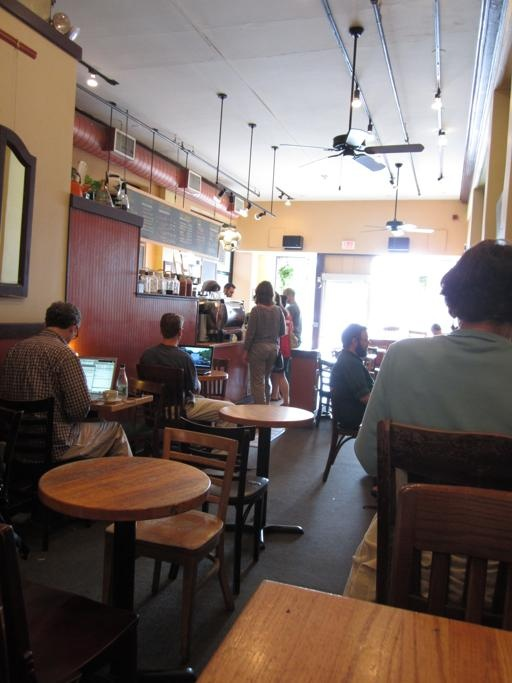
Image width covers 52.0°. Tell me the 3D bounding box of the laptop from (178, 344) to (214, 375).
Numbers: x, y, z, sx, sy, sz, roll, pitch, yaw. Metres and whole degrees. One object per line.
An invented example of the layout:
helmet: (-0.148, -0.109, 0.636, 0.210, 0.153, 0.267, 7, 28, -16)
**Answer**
laptop: (-0.550, 0.179, 4.965, 0.299, 0.241, 0.205, 5, -1, 18)

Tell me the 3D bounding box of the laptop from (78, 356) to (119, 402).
laptop: (-1.067, 0.256, 3.562, 0.285, 0.219, 0.253, 1, -3, 3)

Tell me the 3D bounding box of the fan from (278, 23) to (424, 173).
fan: (0.946, -2.302, 4.833, 1.137, 1.143, 1.155, 9, 14, 33)

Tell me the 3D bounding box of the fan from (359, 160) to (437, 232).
fan: (2.547, -2.463, 9.130, 1.132, 1.096, 1.193, -5, 11, -26)

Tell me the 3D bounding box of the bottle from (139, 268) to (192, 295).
bottle: (-0.888, -0.549, 5.069, 0.311, 0.119, 0.319, 6, 3, 0)

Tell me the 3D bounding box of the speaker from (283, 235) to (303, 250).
speaker: (0.750, -2.037, 10.870, 0.484, 0.275, 0.330, 3, -6, 9)

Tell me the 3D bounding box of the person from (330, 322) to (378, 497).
person: (0.882, 0.345, 4.269, 0.502, 0.943, 0.450, 1, 9, 4)

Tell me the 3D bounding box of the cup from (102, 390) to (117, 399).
cup: (-0.890, 0.325, 3.237, 0.064, 0.041, 0.048, -5, 9, -39)

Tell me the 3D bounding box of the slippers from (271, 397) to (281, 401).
slippers: (0.275, 0.818, 7.306, 0.046, 0.061, 0.152, 5, 9, 40)
